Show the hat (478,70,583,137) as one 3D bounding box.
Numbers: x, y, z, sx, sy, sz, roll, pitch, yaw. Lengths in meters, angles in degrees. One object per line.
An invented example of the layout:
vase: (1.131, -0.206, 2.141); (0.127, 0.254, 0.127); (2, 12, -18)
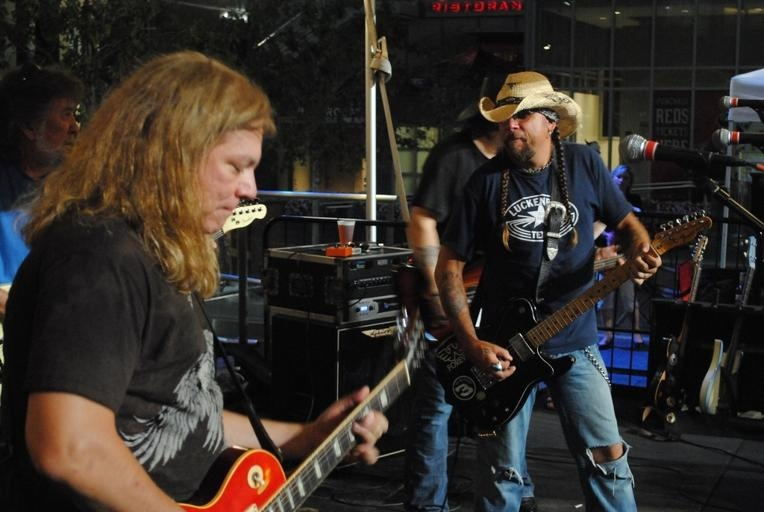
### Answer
hat: (0.974, -0.937, 4.853); (0.548, 0.289, 0.412); (10, -8, -43)

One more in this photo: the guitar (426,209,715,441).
guitar: (1.280, 0.510, 5.230); (1.916, 0.702, 0.287); (-40, -3, 7)
